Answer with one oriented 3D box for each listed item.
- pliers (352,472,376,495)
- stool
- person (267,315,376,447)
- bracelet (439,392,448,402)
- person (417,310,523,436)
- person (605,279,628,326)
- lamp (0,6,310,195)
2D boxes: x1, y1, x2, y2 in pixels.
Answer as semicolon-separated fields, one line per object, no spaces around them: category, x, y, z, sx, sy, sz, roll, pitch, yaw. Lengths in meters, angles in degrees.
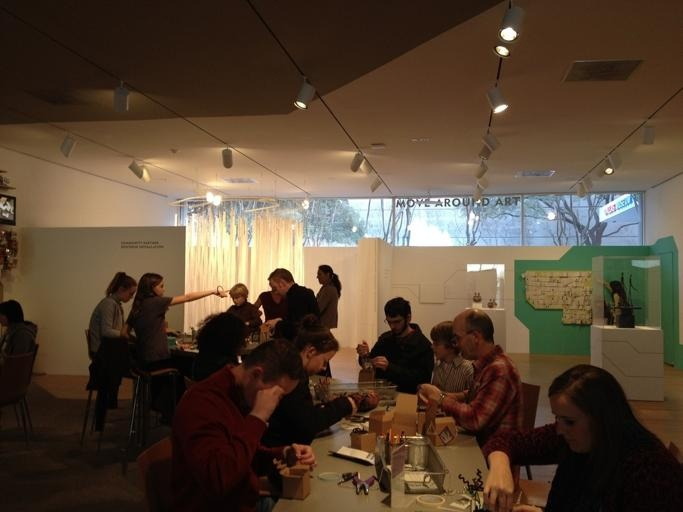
pliers;0.109;1.173;2.616;0.112;0.046;0.181;1;0;22
stool;-2.251;1.692;5.747;0.444;0.736;0.457;6;-9;14
person;-0.181;0.841;3.515;0.686;1.066;0.511;2;1;-10
bracelet;0.721;0.995;3.570;0.025;0.062;0.072;13;-45;-12
person;0.974;0.921;4.018;0.707;1.412;0.823;0;-12;13
person;4.247;0.721;7.757;0.276;0.745;0.150;1;0;30
lamp;-2.203;-1.763;5.804;0.144;0.071;4.178;14;-7;44
